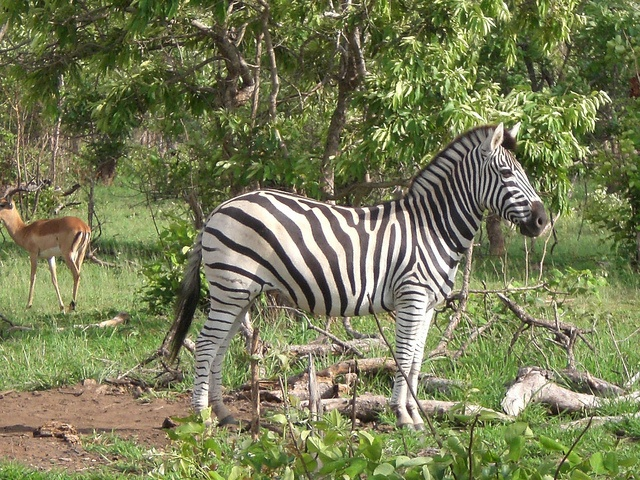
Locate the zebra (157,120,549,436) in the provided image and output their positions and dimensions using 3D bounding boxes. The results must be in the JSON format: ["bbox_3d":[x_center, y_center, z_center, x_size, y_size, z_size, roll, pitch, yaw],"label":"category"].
[{"bbox_3d":[0.410,0.435,10.372,2.832,2.756,0.920,2,-14,1],"label":"zebra"}]
